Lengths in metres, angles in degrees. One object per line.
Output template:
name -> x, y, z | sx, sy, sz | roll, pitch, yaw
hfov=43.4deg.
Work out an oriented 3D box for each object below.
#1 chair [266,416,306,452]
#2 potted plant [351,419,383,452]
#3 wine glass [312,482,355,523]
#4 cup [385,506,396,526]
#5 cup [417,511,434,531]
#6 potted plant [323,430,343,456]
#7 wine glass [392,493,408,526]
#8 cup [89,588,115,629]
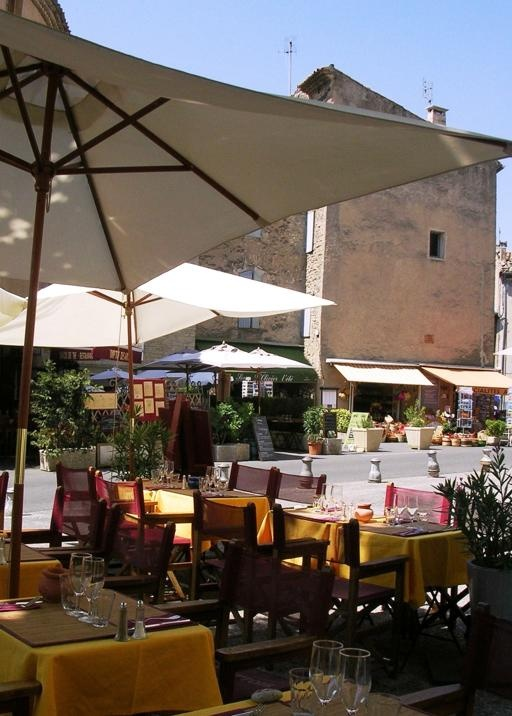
chair -> 1.083, 2.758, 23.603 | 0.965, 1.196, 1.749 | 4, -7, -25
potted plant -> 4.145, 2.861, 24.113 | 0.978, 1.060, 1.190 | 0, 0, 16
wine glass -> 0.702, 1.330, 5.885 | 0.183, 0.210, 0.583 | 1, 1, -2
cup -> 1.179, 1.385, 5.633 | 0.117, 0.131, 0.133 | -1, 2, -11
cup -> 1.455, 1.410, 5.560 | 0.115, 0.086, 0.172 | -1, -13, -3
potted plant -> 2.575, 2.900, 22.275 | 0.745, 0.665, 0.690 | -4, 7, -37
wine glass -> 1.284, 1.351, 5.740 | 0.131, 0.262, 0.113 | 0, -10, -3
cup -> -0.608, 0.983, 2.532 | 0.105, 0.111, 0.101 | 2, 3, 0
